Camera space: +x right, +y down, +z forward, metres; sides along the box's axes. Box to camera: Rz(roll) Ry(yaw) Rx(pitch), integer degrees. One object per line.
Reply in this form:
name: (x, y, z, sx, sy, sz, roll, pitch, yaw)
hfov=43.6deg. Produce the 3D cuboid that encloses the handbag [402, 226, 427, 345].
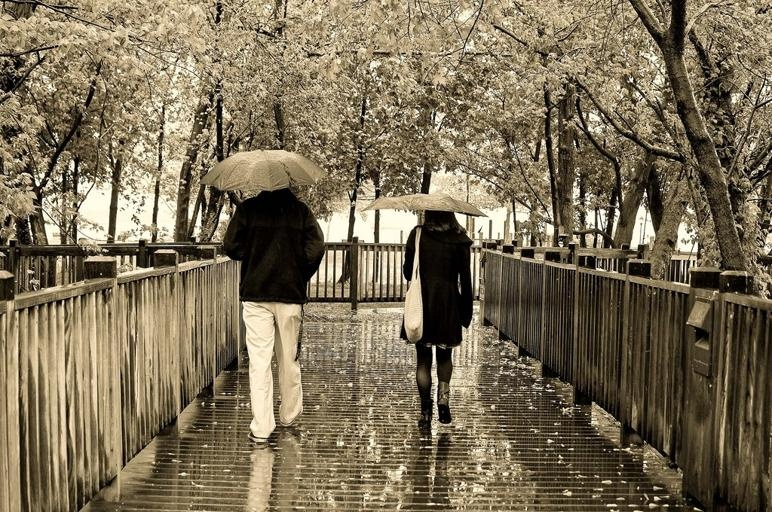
handbag: (0.345, 0.365, 11.704, 0.234, 1.402, 0.327, 0, 8, -6)

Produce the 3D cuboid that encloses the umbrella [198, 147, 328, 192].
umbrella: (-1.427, -1.006, 11.375, 1.364, 0.463, 0.773, 1, 9, -5)

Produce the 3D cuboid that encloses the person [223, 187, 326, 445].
person: (-1.324, 0.630, 11.347, 1.009, 2.857, 0.854, -7, 12, -43)
